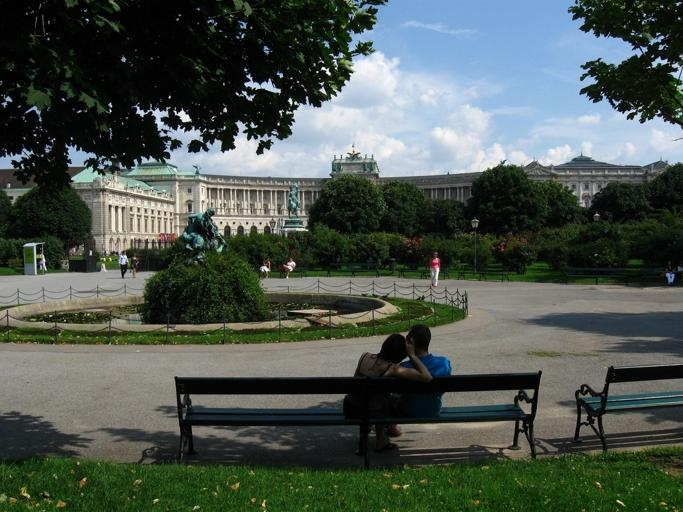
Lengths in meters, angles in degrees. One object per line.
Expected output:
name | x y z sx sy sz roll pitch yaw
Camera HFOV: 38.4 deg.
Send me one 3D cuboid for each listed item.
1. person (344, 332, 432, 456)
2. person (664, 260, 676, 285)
person | 0.691 2.205 15.515 0.989 1.914 1.008 1 -1 -37
person | 14.266 0.759 42.577 0.418 1.007 2.994 0 -1 18
